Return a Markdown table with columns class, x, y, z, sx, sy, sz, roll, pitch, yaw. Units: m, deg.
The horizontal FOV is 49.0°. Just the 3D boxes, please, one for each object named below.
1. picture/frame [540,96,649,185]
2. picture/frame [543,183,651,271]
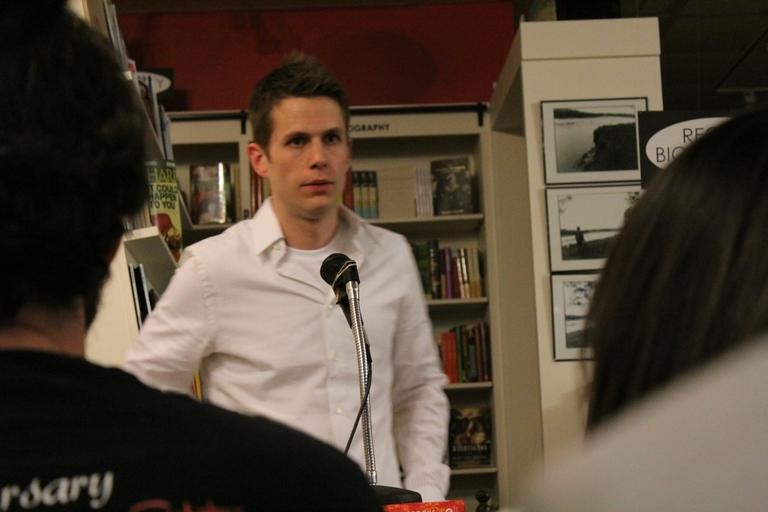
| class | x | y | z | sx | sy | sz | roll | pitch | yaw |
| --- | --- | --- | --- | --- | --- | --- | --- | --- | --- |
| picture/frame | 0.848 | -0.446 | 3.337 | 0.531 | 0.457 | 0.018 | 0 | -3 | 11 |
| picture/frame | 0.633 | -0.092 | 2.560 | 0.323 | 0.292 | 0.012 | -1 | -2 | 9 |
